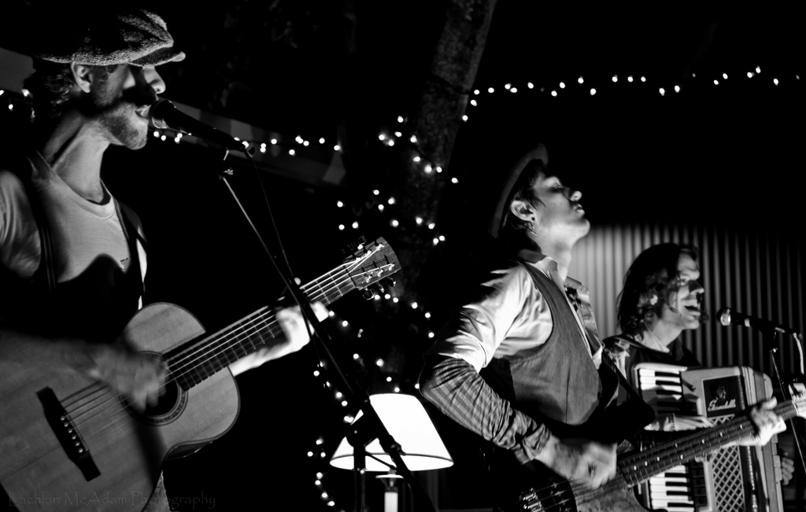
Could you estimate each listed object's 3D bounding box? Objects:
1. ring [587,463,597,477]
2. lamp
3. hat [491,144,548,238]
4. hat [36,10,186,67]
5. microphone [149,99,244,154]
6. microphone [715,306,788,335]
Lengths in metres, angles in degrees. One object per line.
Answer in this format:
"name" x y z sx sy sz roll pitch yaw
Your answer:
"ring" 1.097 1.249 4.540 0.057 0.053 0.013 10 7 -19
"lamp" -0.003 1.359 5.380 0.663 0.419 0.682 1 -23 -3
"hat" 0.790 -0.463 5.368 0.220 0.550 0.422 29 11 18
"hat" -2.051 -1.516 5.563 0.658 0.242 0.492 -3 8 1
"microphone" -1.519 -0.920 5.593 0.783 0.256 0.228 27 33 10
"microphone" 3.204 0.578 7.131 0.541 0.150 0.171 17 40 -6
